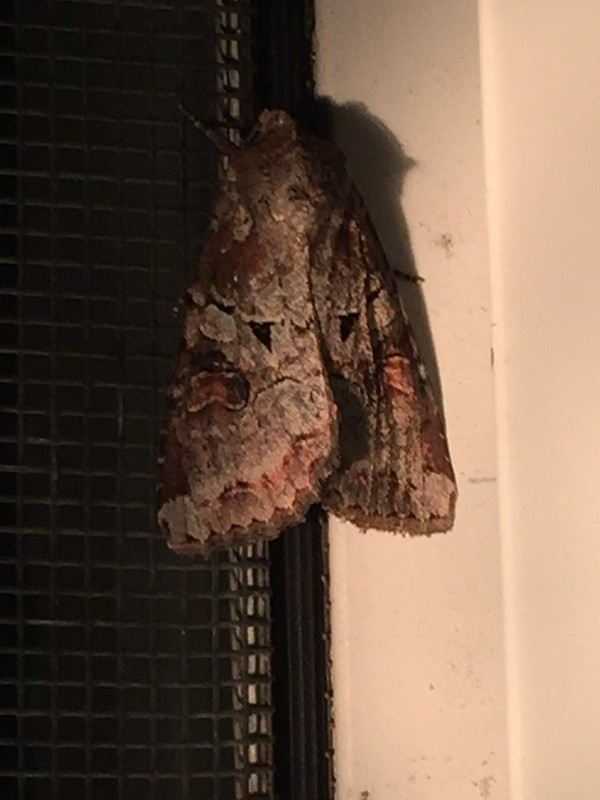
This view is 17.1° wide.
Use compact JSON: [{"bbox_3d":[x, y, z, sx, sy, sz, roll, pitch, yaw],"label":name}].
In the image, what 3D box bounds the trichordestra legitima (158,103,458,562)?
[{"bbox_3d":[-0.006,-0.082,3.064,0.404,0.162,0.700,-2,92,-7],"label":"trichordestra legitima"}]
